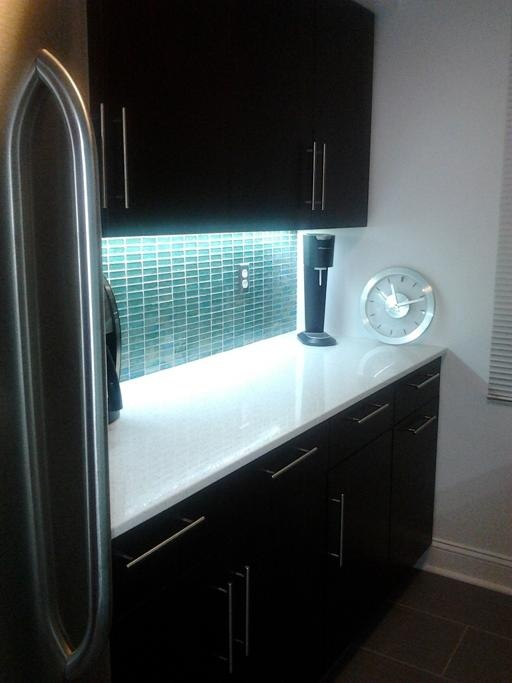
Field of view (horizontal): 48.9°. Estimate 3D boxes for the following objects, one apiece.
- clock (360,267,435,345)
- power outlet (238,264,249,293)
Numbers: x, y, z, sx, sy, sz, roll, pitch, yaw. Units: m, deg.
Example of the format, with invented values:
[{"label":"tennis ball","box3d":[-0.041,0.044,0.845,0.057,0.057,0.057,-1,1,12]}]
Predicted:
[{"label":"clock","box3d":[0.591,-0.146,2.295,0.249,0.316,0.030,2,1,33]},{"label":"power outlet","box3d":[-0.050,-0.246,2.168,0.018,0.167,0.081,5,10,27]}]
